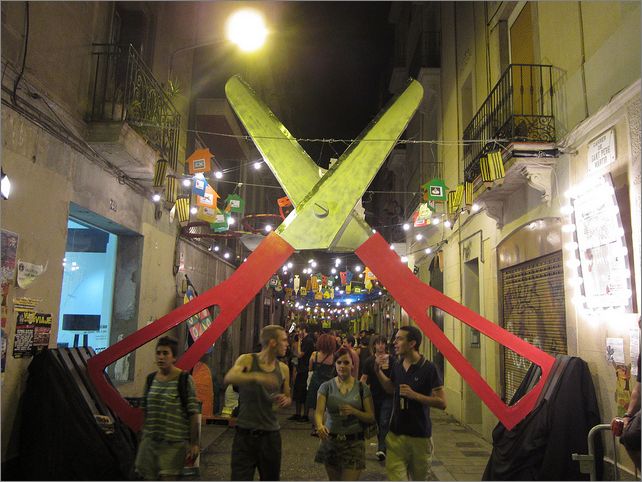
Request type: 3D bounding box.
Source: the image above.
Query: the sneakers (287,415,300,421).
[{"bbox_3d":[-0.640,4.061,10.927,0.317,0.153,0.129,2,-18,9],"label":"sneakers"}]

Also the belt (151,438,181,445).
[{"bbox_3d":[-1.639,2.134,5.084,0.293,0.062,0.042,3,-13,-9],"label":"belt"}]

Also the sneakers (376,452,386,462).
[{"bbox_3d":[1.023,3.656,8.119,0.098,0.164,0.078,7,16,29],"label":"sneakers"}]
